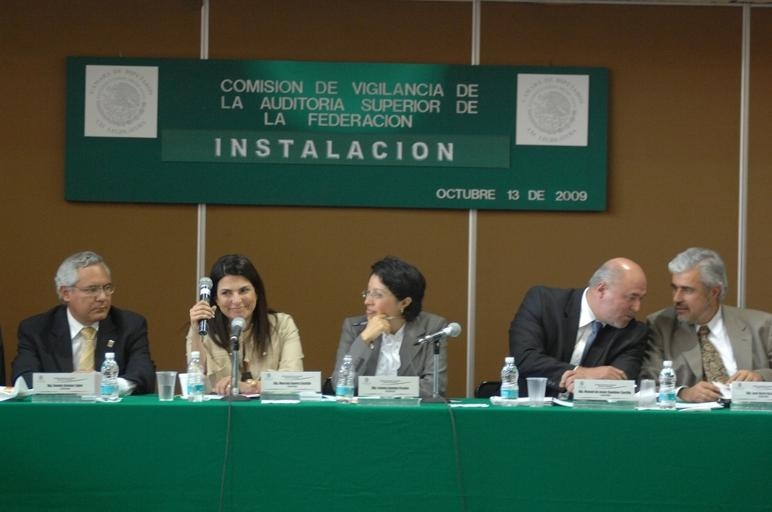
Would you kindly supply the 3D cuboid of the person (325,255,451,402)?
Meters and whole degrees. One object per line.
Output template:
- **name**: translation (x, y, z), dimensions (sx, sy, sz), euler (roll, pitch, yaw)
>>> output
- **person**: translation (-0.027, 0.518, 6.237), dimensions (0.638, 1.275, 0.664), euler (-9, -32, 21)

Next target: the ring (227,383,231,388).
- **ring**: translation (-0.986, 0.810, 5.632), dimensions (0.020, 0.021, 0.016), euler (0, -9, 0)

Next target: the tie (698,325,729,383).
- **tie**: translation (2.252, 0.672, 6.187), dimensions (0.189, 0.374, 0.127), euler (-2, -5, 18)

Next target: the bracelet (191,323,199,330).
- **bracelet**: translation (-1.250, 0.461, 5.873), dimensions (0.037, 0.038, 0.060), euler (-9, 10, 14)

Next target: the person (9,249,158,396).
- **person**: translation (-2.023, 0.452, 6.088), dimensions (0.934, 0.946, 0.398), euler (0, -5, 3)

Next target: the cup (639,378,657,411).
- **cup**: translation (1.581, 0.840, 5.432), dimensions (0.134, 0.238, 0.143), euler (0, -6, 0)

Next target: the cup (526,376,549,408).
- **cup**: translation (0.914, 0.827, 5.507), dimensions (0.150, 0.168, 0.151), euler (-2, 2, 0)

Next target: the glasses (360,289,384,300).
- **glasses**: translation (-0.106, 0.262, 6.200), dimensions (0.084, 0.069, 0.188), euler (4, -7, -37)

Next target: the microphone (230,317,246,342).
- **microphone**: translation (-0.920, 0.448, 5.555), dimensions (0.068, 0.134, 0.248), euler (1, -6, -7)
